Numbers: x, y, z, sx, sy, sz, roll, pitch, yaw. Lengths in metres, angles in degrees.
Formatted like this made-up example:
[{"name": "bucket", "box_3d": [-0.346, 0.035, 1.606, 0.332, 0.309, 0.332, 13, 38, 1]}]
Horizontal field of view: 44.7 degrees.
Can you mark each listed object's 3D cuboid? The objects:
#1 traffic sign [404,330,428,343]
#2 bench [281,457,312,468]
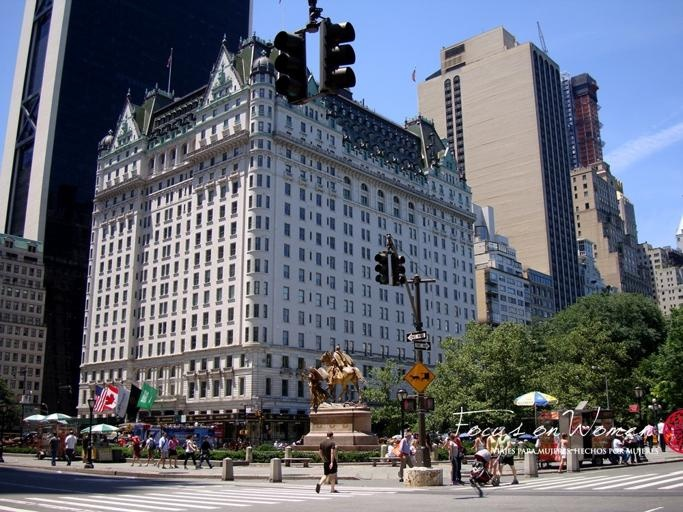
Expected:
[{"name": "traffic sign", "box_3d": [5.816, 5.951, 62.174, 0.967, 1.056, 1.768, 14, -23, -40]}, {"name": "bench", "box_3d": [-3.984, 18.719, 75.887, 2.525, 1.012, 1.804, 0, -18, -5]}]
